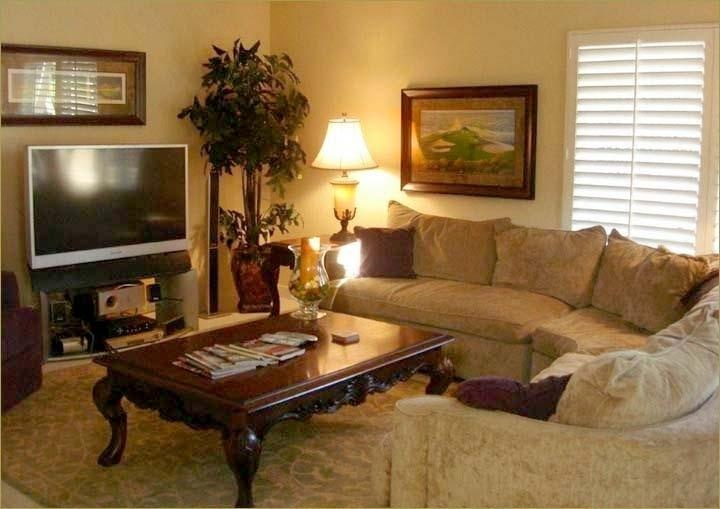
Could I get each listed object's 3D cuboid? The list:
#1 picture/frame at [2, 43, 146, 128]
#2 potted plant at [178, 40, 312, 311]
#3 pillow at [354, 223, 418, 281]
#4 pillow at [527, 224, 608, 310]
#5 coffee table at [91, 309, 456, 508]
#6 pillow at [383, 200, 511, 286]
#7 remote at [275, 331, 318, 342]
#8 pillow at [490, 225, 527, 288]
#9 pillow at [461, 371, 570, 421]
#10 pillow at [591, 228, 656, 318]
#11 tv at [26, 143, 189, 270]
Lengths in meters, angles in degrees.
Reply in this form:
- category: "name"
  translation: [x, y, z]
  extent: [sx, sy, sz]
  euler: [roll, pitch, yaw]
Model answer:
- category: "picture/frame"
  translation: [-2.306, -1.369, 4.728]
  extent: [0.071, 0.611, 1.171]
  euler: [13, 18, 42]
- category: "potted plant"
  translation: [-0.896, -0.802, 5.600]
  extent: [1.213, 2.548, 1.202]
  euler: [9, 16, 33]
- category: "pillow"
  translation: [0.222, 0.003, 4.896]
  extent: [0.498, 0.424, 0.168]
  euler: [0, -5, 6]
- category: "pillow"
  translation: [1.541, 0.123, 4.285]
  extent: [0.611, 0.473, 0.223]
  euler: [2, 9, 34]
- category: "coffee table"
  translation: [-0.479, 0.779, 3.325]
  extent: [1.107, 0.629, 1.686]
  euler: [13, 18, 43]
- category: "pillow"
  translation: [0.751, -0.064, 4.850]
  extent: [0.706, 0.395, 0.173]
  euler: [10, -1, 35]
- category: "remote"
  translation: [-0.361, 0.470, 3.326]
  extent: [0.106, 0.026, 0.103]
  euler: [-1, 4, -43]
- category: "pillow"
  translation: [1.149, 0.022, 4.576]
  extent: [0.126, 0.393, 0.416]
  euler: [7, 0, -8]
- category: "pillow"
  translation: [0.577, 0.545, 2.269]
  extent: [0.323, 0.122, 0.199]
  euler: [-2, -1, -12]
- category: "pillow"
  translation: [1.792, 0.148, 4.024]
  extent: [0.206, 0.490, 0.498]
  euler: [11, 15, -21]
- category: "tv"
  translation: [-2.105, -0.397, 4.713]
  extent: [1.130, 0.745, 0.116]
  euler: [-4, 5, -43]
